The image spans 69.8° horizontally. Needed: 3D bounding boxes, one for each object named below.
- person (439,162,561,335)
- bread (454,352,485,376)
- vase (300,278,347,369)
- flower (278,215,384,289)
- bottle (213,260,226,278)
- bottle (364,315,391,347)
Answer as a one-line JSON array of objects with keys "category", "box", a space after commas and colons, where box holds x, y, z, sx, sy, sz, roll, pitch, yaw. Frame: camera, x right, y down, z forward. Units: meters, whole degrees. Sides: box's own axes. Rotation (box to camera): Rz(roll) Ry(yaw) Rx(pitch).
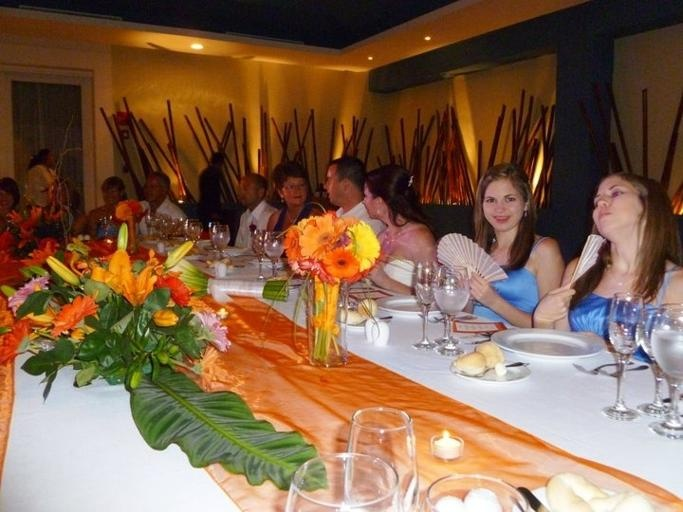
[{"category": "person", "box": [0.818, 0.064, 2.494, 0.513, 1.013, 0.550, -7, 9, -41]}, {"category": "bread", "box": [0.325, 0.270, 1.234, 0.052, 0.033, 0.058, -22, 18, -29]}, {"category": "vase", "box": [-0.061, 0.203, 1.371, 0.104, 0.108, 0.286, -1, 51, 0]}, {"category": "flower", "box": [-0.031, -0.039, 1.298, 0.221, 0.103, 0.211, 13, -6, -33]}, {"category": "bottle", "box": [-0.593, 0.065, 2.389, 0.045, 0.076, 0.062, -13, 21, -40]}, {"category": "bottle", "box": [0.106, 0.234, 1.535, 0.058, 0.083, 0.093, -1, 8, -17]}]
